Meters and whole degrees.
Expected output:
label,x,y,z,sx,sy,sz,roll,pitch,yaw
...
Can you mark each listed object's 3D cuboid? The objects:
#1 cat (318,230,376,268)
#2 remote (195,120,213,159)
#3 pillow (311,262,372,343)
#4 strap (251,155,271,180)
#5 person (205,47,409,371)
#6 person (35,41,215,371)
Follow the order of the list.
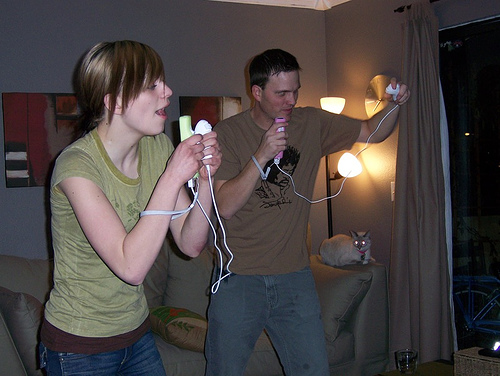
label,x,y,z,sx,sy,sz,roll,pitch,yaw
cat,0.767,0.470,3.568,0.255,0.255,0.414,-27,13,-31
remote,-0.193,-0.209,1.810,0.072,0.155,0.033,-5,-13,29
pillow,0.627,0.871,3.231,0.143,0.526,0.486,17,4,-30
strap,0.057,-0.095,2.136,0.031,0.105,0.074,-42,32,-25
person,0.223,0.064,2.270,0.993,1.625,0.598,-3,6,-13
person,-0.488,0.102,1.606,0.579,1.259,0.361,-5,7,-31
